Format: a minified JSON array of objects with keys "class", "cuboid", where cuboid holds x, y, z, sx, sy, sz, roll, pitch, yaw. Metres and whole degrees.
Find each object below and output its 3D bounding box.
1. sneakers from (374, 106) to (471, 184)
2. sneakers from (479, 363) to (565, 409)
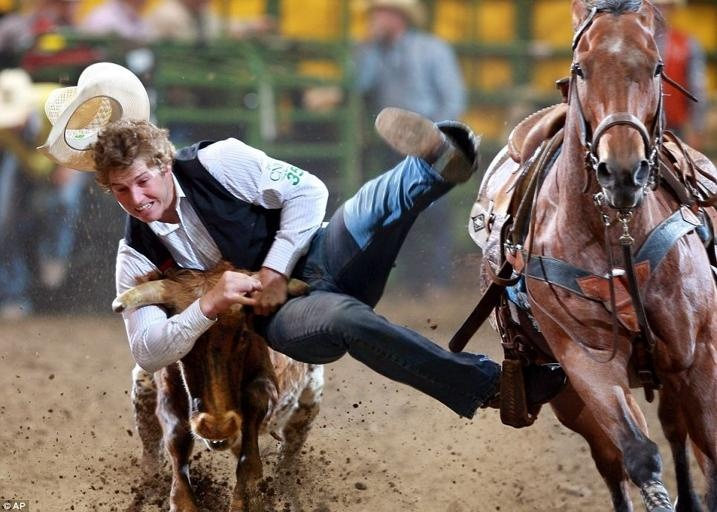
[{"class":"sneakers","cuboid":[0.327,-0.580,6.484,0.478,0.211,0.293,27,3,12]},{"class":"sneakers","cuboid":[0.882,0.683,6.928,0.398,0.162,0.231,-17,3,-16]}]
